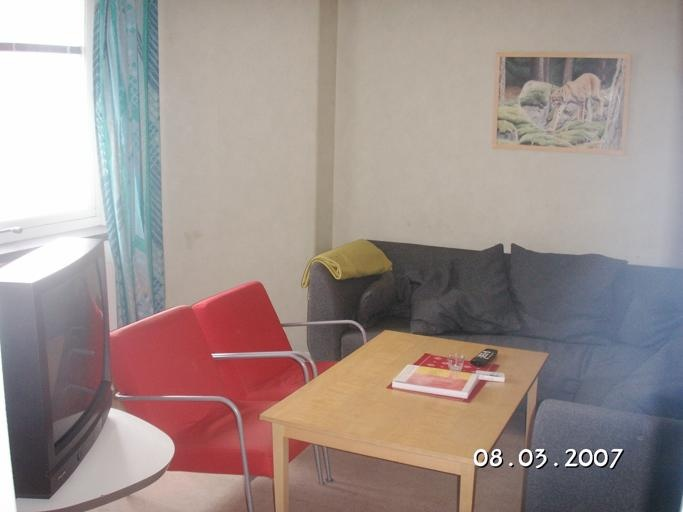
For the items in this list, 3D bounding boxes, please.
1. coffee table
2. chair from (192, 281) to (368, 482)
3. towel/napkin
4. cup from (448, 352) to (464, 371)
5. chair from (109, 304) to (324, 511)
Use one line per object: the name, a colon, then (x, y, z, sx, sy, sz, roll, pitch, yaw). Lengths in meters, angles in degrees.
coffee table: (0.221, 0.593, 2.133, 0.684, 0.490, 0.961, 3, 9, 23)
chair: (-0.418, 0.578, 3.192, 0.929, 1.103, 0.812, 1, 12, 27)
towel/napkin: (0.080, 0.034, 3.751, 0.348, 0.169, 0.488, -1, 5, 30)
cup: (0.517, 0.480, 2.459, 0.071, 0.061, 0.079, 4, 10, 23)
chair: (-0.493, 0.604, 2.565, 0.940, 0.885, 0.773, 3, 8, 14)
